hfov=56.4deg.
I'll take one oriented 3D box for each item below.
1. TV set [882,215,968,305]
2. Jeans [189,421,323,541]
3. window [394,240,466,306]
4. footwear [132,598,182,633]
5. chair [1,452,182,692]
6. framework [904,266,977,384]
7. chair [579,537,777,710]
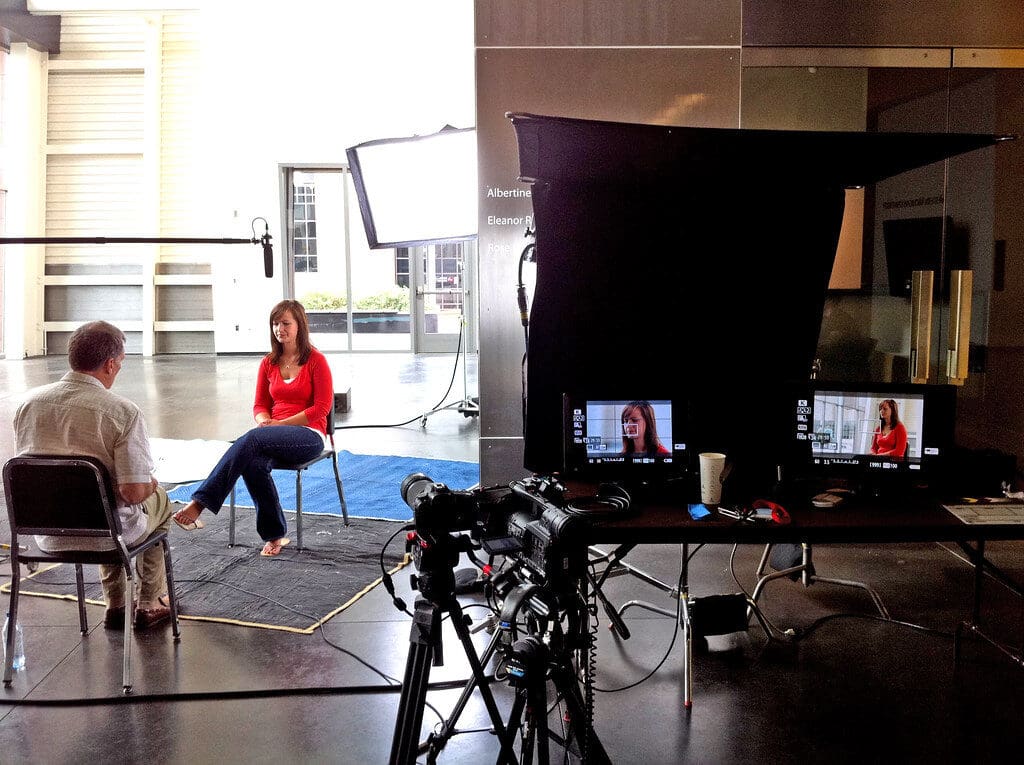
[{"bbox_3d":[2.077,-0.626,5.061,0.557,0.560,0.376,0,1,11],"label":"TV set"},{"bbox_3d":[-1.307,0.431,4.977,0.433,0.735,0.357,3,27,-15],"label":"Jeans"},{"bbox_3d":[-0.924,-1.287,11.199,0.986,1.110,0.122,2,10,12],"label":"window"},{"bbox_3d":[-1.626,1.069,4.401,0.091,0.100,0.253,1,7,14],"label":"footwear"},{"bbox_3d":[-1.800,0.749,4.024,0.710,0.942,0.587,-1,5,-7],"label":"chair"},{"bbox_3d":[2.211,-0.282,4.894,0.315,0.588,0.113,1,5,10],"label":"framework"},{"bbox_3d":[0.781,0.901,4.163,0.782,0.677,1.219,1,5,8],"label":"chair"}]
